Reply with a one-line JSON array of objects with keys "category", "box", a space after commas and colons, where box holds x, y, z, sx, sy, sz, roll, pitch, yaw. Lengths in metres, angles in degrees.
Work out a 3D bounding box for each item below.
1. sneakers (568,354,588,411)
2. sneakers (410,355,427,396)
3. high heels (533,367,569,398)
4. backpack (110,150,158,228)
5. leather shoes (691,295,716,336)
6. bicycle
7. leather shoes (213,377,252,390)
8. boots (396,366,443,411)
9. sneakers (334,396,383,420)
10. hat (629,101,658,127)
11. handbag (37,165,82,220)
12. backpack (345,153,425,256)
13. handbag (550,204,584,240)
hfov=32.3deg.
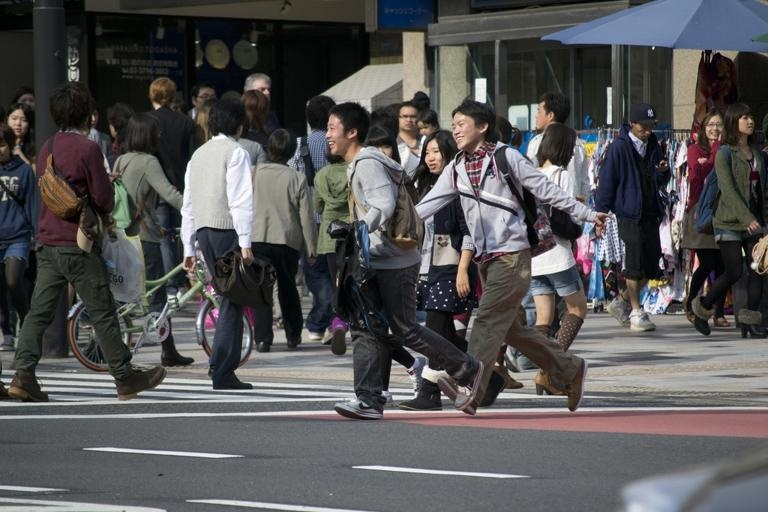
[{"category": "sneakers", "box": [1.692, 1.130, 11.722, 0.161, 0.506, 0.247, 1, 6, 9]}, {"category": "sneakers", "box": [0.304, 1.096, 12.239, 0.146, 0.387, 0.122, 3, -7, -14]}, {"category": "high heels", "box": [1.476, 1.181, 12.127, 0.160, 0.235, 0.472, 1, -1, 39]}, {"category": "backpack", "box": [-2.685, -0.723, 14.208, 0.681, 0.514, 0.211, 24, 35, 38]}, {"category": "leather shoes", "box": [3.896, 0.742, 16.197, 0.165, 0.551, 0.223, -4, -10, -3]}, {"category": "bicycle", "box": [-2.510, 0.467, 14.270, 2.128, 1.443, 1.133, -3, 10, -12]}, {"category": "leather shoes", "box": [-1.458, 1.195, 12.768, 0.401, 0.177, 0.139, -2, 2, -17]}, {"category": "boots", "box": [0.379, 1.223, 11.913, 0.528, 0.389, 0.228, 0, -1, -18]}, {"category": "sneakers", "box": [-0.215, 1.306, 11.353, 0.423, 0.189, 0.168, 9, -5, -12]}, {"category": "hat", "box": [3.149, -1.736, 16.163, 0.234, 0.196, 0.333, -7, 23, -32]}, {"category": "handbag", "box": [-2.941, -0.542, 11.916, 0.211, 0.507, 0.362, -14, -24, -50]}, {"category": "backpack", "box": [0.021, -0.449, 11.272, 0.634, 0.921, 0.405, -1, 6, -12]}, {"category": "handbag", "box": [1.690, -0.328, 12.398, 0.288, 0.314, 0.153, 4, 14, 10]}]
